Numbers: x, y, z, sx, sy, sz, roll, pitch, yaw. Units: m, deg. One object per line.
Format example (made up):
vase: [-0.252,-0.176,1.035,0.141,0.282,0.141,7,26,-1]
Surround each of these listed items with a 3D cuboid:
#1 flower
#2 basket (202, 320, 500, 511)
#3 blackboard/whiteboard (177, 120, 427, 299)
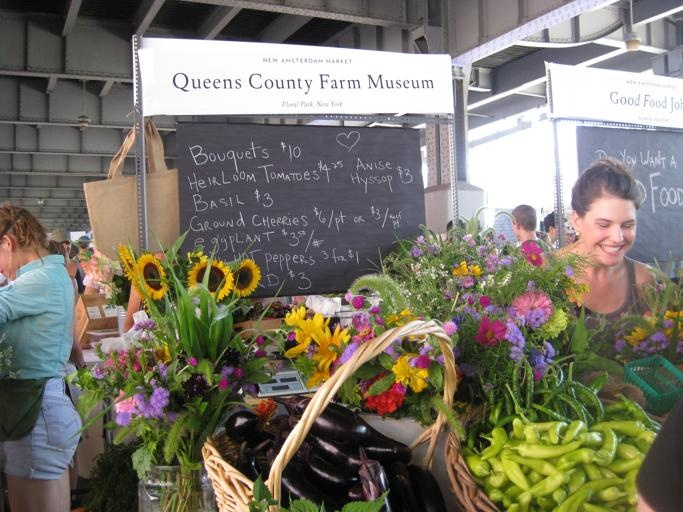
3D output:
flower: [-0.479,0.320,1.954,0.744,0.886,0.771,-3,-8,-4]
basket: [-0.012,0.454,1.703,0.712,0.718,0.558,1,-15,-30]
blackboard/whiteboard: [-0.258,-0.246,3.109,0.938,0.695,0.021,-1,-5,-15]
